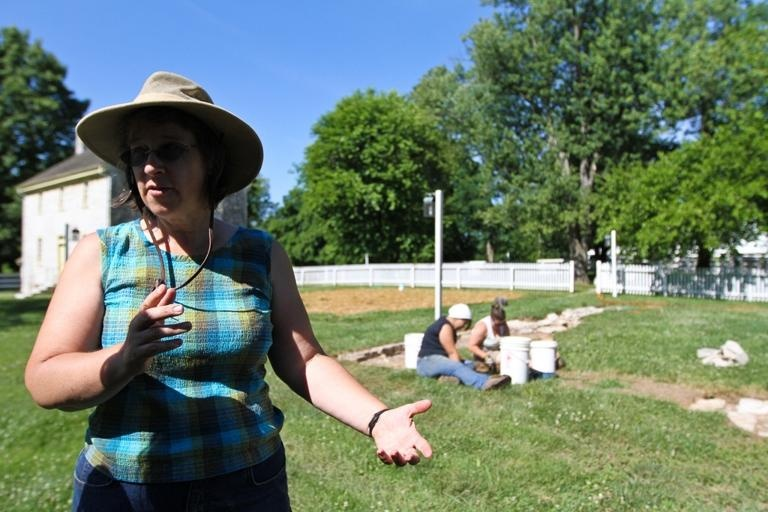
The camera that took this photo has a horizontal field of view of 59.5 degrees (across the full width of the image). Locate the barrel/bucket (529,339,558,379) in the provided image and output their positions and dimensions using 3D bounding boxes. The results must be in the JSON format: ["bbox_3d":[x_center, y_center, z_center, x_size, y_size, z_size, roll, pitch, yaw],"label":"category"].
[{"bbox_3d":[3.094,2.041,13.195,0.587,0.712,0.636,0,-5,0],"label":"barrel/bucket"}]

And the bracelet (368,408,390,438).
[{"bbox_3d":[-0.080,1.618,6.593,0.064,0.245,0.227,18,-29,-12],"label":"bracelet"}]

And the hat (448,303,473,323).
[{"bbox_3d":[1.439,1.110,12.995,0.317,0.222,0.380,8,-12,-31],"label":"hat"}]

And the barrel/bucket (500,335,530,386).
[{"bbox_3d":[2.475,1.969,12.662,0.693,0.830,0.722,1,-4,0],"label":"barrel/bucket"}]

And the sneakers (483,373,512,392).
[{"bbox_3d":[2.092,2.247,12.157,0.607,0.220,0.268,-9,15,-31],"label":"sneakers"}]
